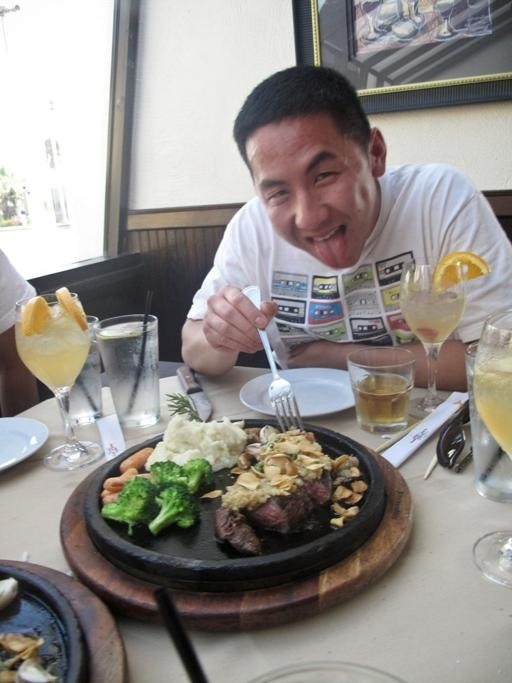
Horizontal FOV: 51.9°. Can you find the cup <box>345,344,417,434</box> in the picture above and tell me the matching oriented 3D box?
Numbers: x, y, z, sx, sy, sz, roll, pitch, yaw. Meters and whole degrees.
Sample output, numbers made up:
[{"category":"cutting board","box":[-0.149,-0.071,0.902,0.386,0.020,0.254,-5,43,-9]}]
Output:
[{"category":"cup","box":[0.292,0.123,1.219,0.128,0.226,0.117,0,12,0]}]

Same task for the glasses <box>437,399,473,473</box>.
[{"category":"glasses","box":[0.392,0.192,1.038,0.045,0.031,0.185,-25,8,22]}]

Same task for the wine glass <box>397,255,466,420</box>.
[{"category":"wine glass","box":[0.426,-0.017,1.286,0.141,0.370,0.169,9,12,24]}]

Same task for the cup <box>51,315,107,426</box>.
[{"category":"cup","box":[-0.451,0.083,1.354,0.124,0.279,0.127,1,13,0]}]

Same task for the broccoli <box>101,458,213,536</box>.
[{"category":"broccoli","box":[-0.148,0.243,0.857,0.117,0.053,0.088,-29,25,-34]}]

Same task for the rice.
[{"category":"rice","box":[-0.129,0.178,1.078,0.194,0.099,0.143,-5,9,-28]}]

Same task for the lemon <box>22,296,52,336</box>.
[{"category":"lemon","box":[-0.452,-0.046,1.081,0.027,0.069,0.078,3,12,24]}]

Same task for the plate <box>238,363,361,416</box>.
[{"category":"plate","box":[0.125,0.095,1.407,0.293,0.093,0.326,-7,11,-36]}]

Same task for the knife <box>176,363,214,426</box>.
[{"category":"knife","box":[-0.162,0.147,1.455,0.051,0.036,0.330,-9,16,-7]}]
